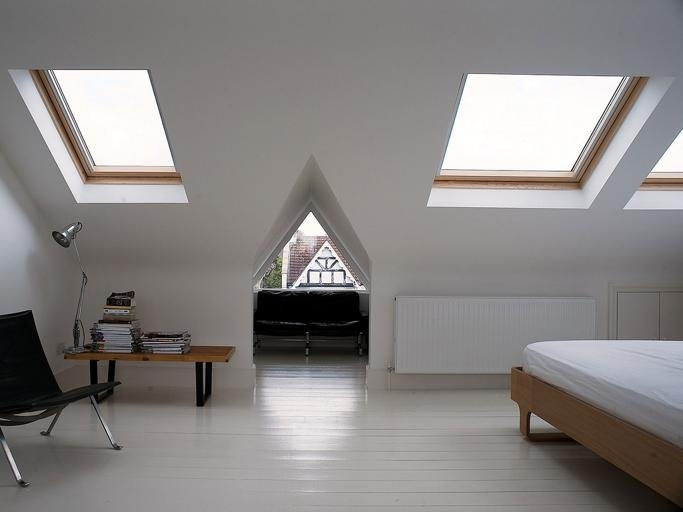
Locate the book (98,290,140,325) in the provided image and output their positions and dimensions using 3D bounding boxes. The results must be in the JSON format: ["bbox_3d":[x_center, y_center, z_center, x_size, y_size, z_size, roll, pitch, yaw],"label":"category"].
[{"bbox_3d":[-1.932,0.483,4.461,0.305,0.295,0.275,1,-12,-1],"label":"book"}]

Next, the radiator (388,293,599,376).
[{"bbox_3d":[1.514,0.803,4.839,1.956,0.793,0.257,1,-17,1],"label":"radiator"}]

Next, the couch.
[{"bbox_3d":[-0.424,0.859,6.538,1.519,0.732,0.730,2,1,-10],"label":"couch"}]

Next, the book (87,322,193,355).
[{"bbox_3d":[-1.783,0.741,4.386,0.537,0.161,0.409,3,-5,-4],"label":"book"}]
